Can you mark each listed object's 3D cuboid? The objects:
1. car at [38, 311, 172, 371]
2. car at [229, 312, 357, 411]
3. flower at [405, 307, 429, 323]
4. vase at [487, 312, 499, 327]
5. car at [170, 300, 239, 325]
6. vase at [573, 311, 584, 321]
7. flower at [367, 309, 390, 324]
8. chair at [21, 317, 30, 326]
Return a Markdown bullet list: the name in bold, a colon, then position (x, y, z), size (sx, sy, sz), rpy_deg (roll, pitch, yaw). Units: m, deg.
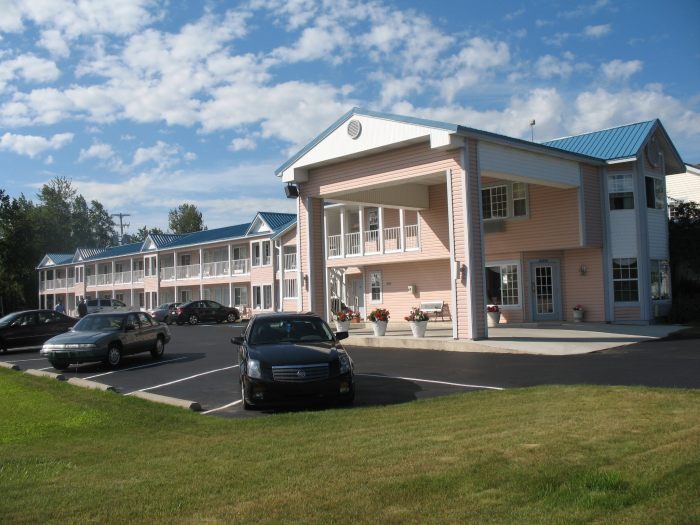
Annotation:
- **car**: position (-6.734, 2.199, 18.972), size (1.550, 1.072, 3.100), rpy_deg (-6, -10, 22)
- **car**: position (-1.159, 1.827, 12.752), size (1.964, 1.850, 2.121), rpy_deg (2, -7, -28)
- **flower**: position (2.299, 1.846, 22.864), size (0.681, 0.399, 0.705), rpy_deg (1, -4, -1)
- **vase**: position (5.924, 2.375, 27.888), size (0.528, 0.426, 0.495), rpy_deg (1, 0, -43)
- **car**: position (-9.158, 3.137, 41.449), size (3.104, 1.087, 1.409), rpy_deg (-2, -1, -34)
- **vase**: position (9.049, 2.150, 26.544), size (0.490, 0.516, 0.337), rpy_deg (-6, -11, 40)
- **flower**: position (0.930, 1.879, 23.370), size (0.532, 0.318, 0.543), rpy_deg (4, -6, -40)
- **chair**: position (-11.745, 2.110, 23.925), size (0.207, 0.394, 0.206), rpy_deg (4, -8, -41)
